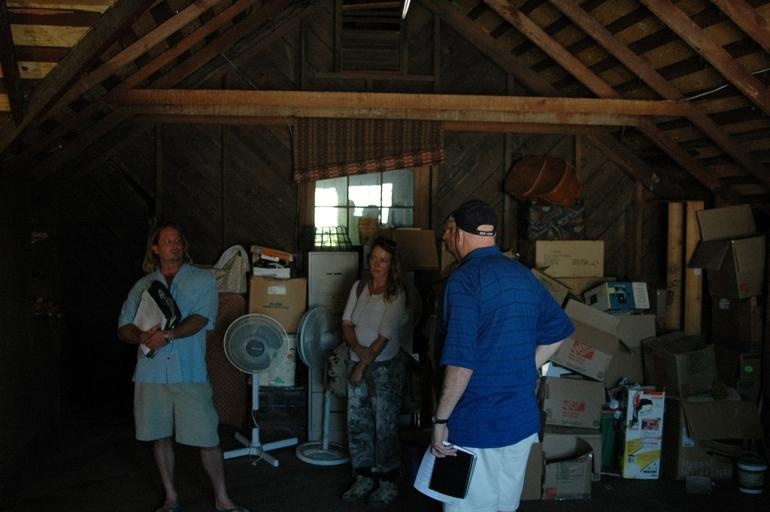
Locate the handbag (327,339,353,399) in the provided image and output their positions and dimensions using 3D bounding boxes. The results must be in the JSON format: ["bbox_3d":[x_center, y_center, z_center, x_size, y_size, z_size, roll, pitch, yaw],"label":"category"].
[{"bbox_3d":[-0.436,1.092,7.414,0.104,0.452,0.322,-1,-12,-35],"label":"handbag"}]

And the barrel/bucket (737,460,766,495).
[{"bbox_3d":[3.541,2.106,7.479,0.281,0.312,0.289,-1,0,0],"label":"barrel/bucket"}]

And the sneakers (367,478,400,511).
[{"bbox_3d":[-0.014,2.198,7.145,0.173,0.176,0.293,-1,1,42],"label":"sneakers"}]

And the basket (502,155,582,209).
[{"bbox_3d":[1.864,-0.889,9.191,0.808,0.525,0.437,5,6,32],"label":"basket"}]

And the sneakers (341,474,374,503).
[{"bbox_3d":[-0.257,2.169,7.260,0.162,0.128,0.309,4,6,42],"label":"sneakers"}]

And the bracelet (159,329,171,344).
[{"bbox_3d":[-1.884,0.694,6.674,0.074,0.105,0.041,5,17,-3],"label":"bracelet"}]

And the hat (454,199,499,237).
[{"bbox_3d":[0.703,-0.278,5.868,0.226,0.176,0.310,-3,21,-16],"label":"hat"}]

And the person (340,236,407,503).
[{"bbox_3d":[-0.116,1.067,7.225,0.578,2.439,0.336,1,-5,4],"label":"person"}]
